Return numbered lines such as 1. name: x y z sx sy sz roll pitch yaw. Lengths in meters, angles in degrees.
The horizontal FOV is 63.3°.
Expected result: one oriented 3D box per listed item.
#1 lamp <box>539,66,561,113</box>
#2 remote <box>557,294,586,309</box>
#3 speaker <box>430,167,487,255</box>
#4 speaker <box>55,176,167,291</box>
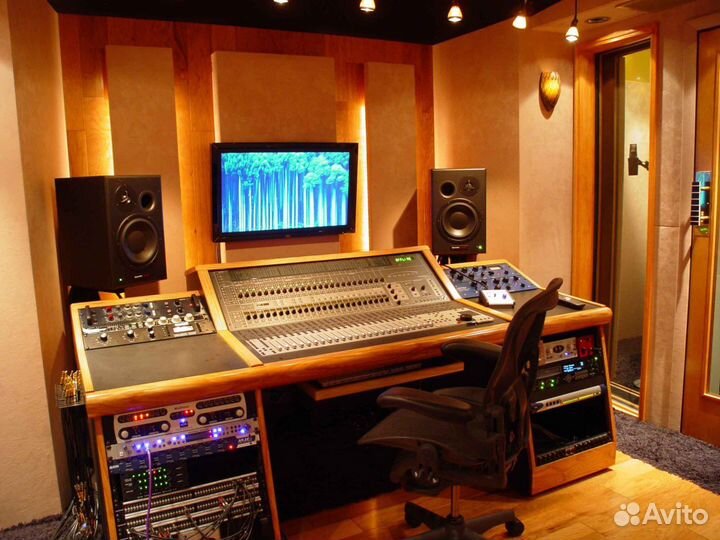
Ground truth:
1. lamp: 1.389 -1.288 4.219 0.202 0.312 0.062 -12 12 -29
2. remote: 1.223 0.184 3.369 0.060 0.029 0.111 -9 20 -18
3. speaker: 0.740 -0.506 4.307 0.433 0.678 0.414 8 34 23
4. speaker: -1.433 -0.230 3.388 0.463 0.646 0.402 4 8 36
